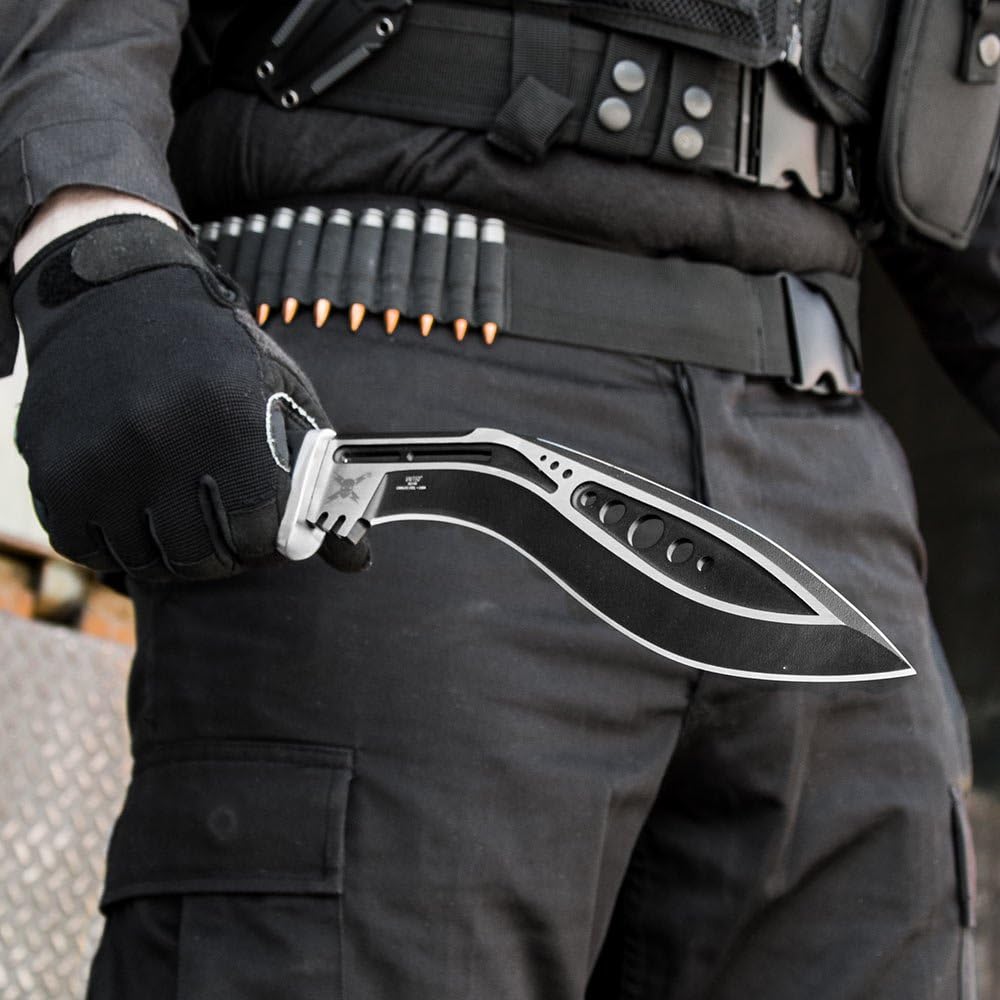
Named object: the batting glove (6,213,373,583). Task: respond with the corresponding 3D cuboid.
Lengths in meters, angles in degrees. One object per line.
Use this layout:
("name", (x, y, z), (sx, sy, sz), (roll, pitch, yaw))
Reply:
("batting glove", (-0.258, -0.081, 0.968), (0.232, 0.160, 0.257), (-11, 57, -8))

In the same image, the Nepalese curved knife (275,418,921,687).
("Nepalese curved knife", (0.059, 0.047, 1.018), (0.481, 0.043, 0.165), (18, 74, 3))
